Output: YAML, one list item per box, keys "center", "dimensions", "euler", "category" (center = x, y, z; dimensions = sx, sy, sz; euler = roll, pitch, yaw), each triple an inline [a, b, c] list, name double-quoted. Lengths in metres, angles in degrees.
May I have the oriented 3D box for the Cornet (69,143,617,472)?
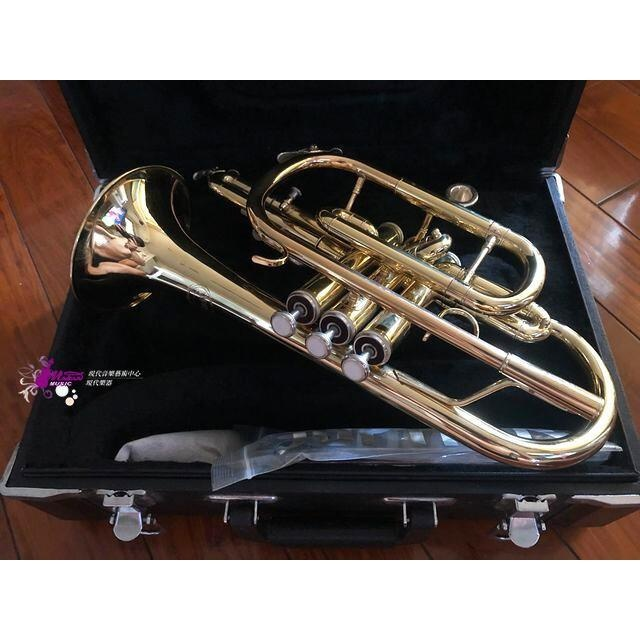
- center: [0.037, -0.003, 1.253]
  dimensions: [0.956, 0.300, 0.436]
  euler: [22, 63, 14]
  category: "Cornet"
